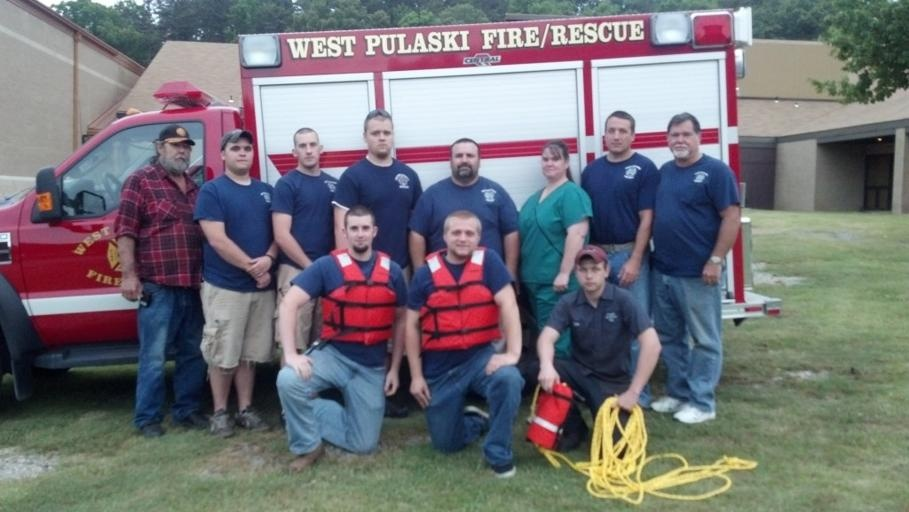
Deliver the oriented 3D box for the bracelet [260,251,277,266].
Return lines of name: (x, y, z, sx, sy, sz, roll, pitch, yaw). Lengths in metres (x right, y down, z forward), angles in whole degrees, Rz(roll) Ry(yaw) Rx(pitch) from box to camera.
bracelet: (-2.212, 0.037, 8.836, 0.062, 0.155, 0.161, -39, 41, -4)

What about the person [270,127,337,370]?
person: (-1.810, -0.240, 8.918, 0.919, 2.507, 0.959, 1, 0, 4)

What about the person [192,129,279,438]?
person: (-2.574, 0.315, 8.791, 0.983, 3.601, 0.497, -5, 8, -18)

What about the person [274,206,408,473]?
person: (-1.257, 0.888, 8.323, 1.522, 2.876, 0.460, -5, 7, -14)

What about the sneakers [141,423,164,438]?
sneakers: (-3.593, 2.096, 8.763, 0.337, 0.113, 0.140, -4, -8, -11)

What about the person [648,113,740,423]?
person: (2.857, 0.119, 8.742, 0.988, 3.605, 0.593, -1, 8, 17)

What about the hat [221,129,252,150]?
hat: (-2.588, -1.381, 8.763, 0.340, 0.230, 0.167, -4, 7, -17)

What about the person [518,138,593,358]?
person: (1.265, -0.032, 9.183, 0.973, 2.487, 0.869, 0, 2, 5)

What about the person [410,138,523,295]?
person: (0.143, -0.615, 9.188, 0.977, 2.164, 0.814, 0, 2, -4)

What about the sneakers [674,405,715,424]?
sneakers: (2.847, 1.883, 8.680, 0.421, 0.146, 0.211, 2, -3, -2)

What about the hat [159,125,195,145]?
hat: (-3.310, -1.437, 8.815, 0.351, 0.163, 0.254, -6, -7, 29)

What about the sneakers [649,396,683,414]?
sneakers: (2.591, 1.824, 8.921, 0.346, 0.119, 0.181, 3, 26, 1)

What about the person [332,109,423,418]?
person: (-0.971, -0.583, 9.104, 0.876, 2.194, 0.751, 0, 2, -11)
